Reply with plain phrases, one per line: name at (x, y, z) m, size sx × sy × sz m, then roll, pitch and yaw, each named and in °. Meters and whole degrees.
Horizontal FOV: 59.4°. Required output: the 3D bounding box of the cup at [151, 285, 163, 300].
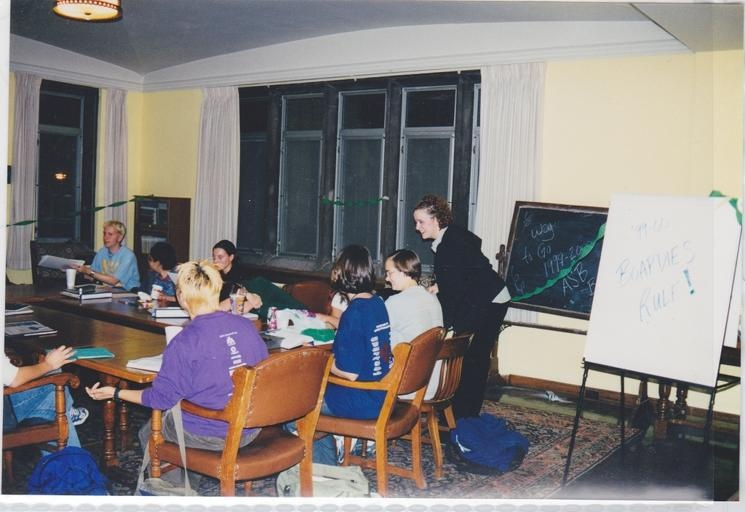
cup at (-1.771, 0.294, 5.333) m, size 0.085 × 0.096 × 0.107 m, roll 6°, pitch -14°, yaw -6°

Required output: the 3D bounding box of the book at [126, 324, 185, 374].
book at (-1.377, 0.597, 4.058) m, size 0.259 × 0.095 × 0.392 m, roll 8°, pitch 9°, yaw -29°

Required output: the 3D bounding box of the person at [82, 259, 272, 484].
person at (-1.034, 0.673, 3.785) m, size 0.762 × 1.279 × 0.421 m, roll 4°, pitch 7°, yaw 21°

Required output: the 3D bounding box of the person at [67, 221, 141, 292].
person at (-2.554, 0.012, 6.255) m, size 0.522 × 0.743 × 0.645 m, roll 9°, pitch 9°, yaw 34°

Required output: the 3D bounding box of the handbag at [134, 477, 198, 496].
handbag at (-1.181, 1.295, 3.673) m, size 0.194 × 0.069 × 0.152 m, roll 2°, pitch -5°, yaw 6°

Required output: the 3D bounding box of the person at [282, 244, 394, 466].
person at (-0.330, 0.736, 4.380) m, size 0.848 × 1.586 × 0.654 m, roll 4°, pitch 4°, yaw 17°

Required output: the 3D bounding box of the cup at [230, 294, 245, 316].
cup at (-1.003, 0.347, 4.882) m, size 0.125 × 0.172 × 0.124 m, roll 1°, pitch -6°, yaw 0°

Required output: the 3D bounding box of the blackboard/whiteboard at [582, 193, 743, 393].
blackboard/whiteboard at (1.764, 0.177, 3.985) m, size 0.786 × 1.079 × 0.346 m, roll 5°, pitch 8°, yaw 29°

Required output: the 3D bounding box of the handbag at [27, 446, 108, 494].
handbag at (-1.715, 1.219, 3.717) m, size 0.358 × 0.131 × 0.315 m, roll 18°, pitch -5°, yaw 43°

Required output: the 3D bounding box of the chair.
chair at (-0.428, 0.902, 4.089) m, size 1.773 × 1.152 × 0.995 m, roll 1°, pitch -2°, yaw 28°

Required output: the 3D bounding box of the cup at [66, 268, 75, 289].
cup at (-2.611, 0.191, 5.639) m, size 0.067 × 0.164 × 0.102 m, roll -2°, pitch 7°, yaw -20°

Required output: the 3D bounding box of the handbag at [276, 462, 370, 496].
handbag at (-0.283, 1.323, 3.839) m, size 0.334 × 0.125 × 0.280 m, roll 3°, pitch 0°, yaw -3°

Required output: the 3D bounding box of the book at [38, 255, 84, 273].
book at (-2.778, 0.047, 5.836) m, size 0.296 × 0.146 × 0.495 m, roll -1°, pitch 7°, yaw -19°

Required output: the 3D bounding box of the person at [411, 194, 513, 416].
person at (0.746, 0.469, 5.461) m, size 0.815 × 1.925 × 0.740 m, roll 1°, pitch 14°, yaw 15°

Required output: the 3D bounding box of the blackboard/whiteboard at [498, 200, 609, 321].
blackboard/whiteboard at (1.614, 0.036, 5.735) m, size 1.011 × 0.976 × 0.045 m, roll 7°, pitch -3°, yaw 31°
